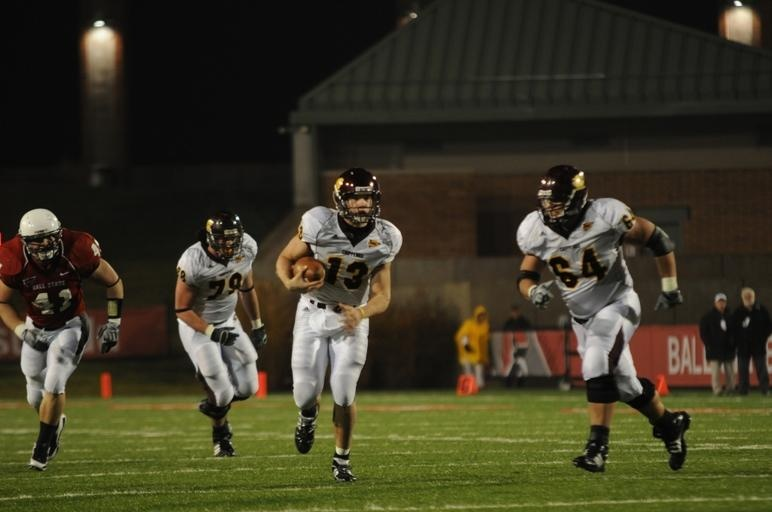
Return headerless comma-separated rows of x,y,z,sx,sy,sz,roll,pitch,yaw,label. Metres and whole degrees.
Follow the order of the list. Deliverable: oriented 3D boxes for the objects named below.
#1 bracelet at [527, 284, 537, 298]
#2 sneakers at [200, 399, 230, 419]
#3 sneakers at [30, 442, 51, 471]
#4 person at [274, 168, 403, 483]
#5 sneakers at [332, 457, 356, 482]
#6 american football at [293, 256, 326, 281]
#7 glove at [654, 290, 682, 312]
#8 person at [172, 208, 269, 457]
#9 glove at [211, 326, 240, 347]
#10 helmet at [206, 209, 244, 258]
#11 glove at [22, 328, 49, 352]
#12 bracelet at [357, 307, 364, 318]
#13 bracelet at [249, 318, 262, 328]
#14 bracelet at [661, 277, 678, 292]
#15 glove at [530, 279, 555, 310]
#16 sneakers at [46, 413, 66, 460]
1.718,0.409,13.991,0.035,0.123,0.131,22,25,-9,bracelet
-2.195,1.957,14.994,0.334,0.230,0.246,2,15,16,sneakers
-4.267,2.497,14.465,0.167,0.204,0.463,11,1,-7,sneakers
-0.563,0.810,14.017,1.375,3.709,0.649,0,-6,-1,person
-0.494,2.515,13.916,0.285,0.307,0.254,0,-6,-4,sneakers
-0.859,0.133,13.899,0.378,0.281,0.298,17,20,6,american football
3.402,0.526,14.057,0.264,0.139,0.325,-12,13,25,glove
-2.099,1.008,15.060,1.139,3.108,0.797,2,-6,-19,person
-2.050,1.023,15.025,0.371,0.235,0.279,1,-6,-12,glove
-2.069,-0.295,14.985,0.493,0.529,0.602,-9,21,-24,helmet
-4.329,1.044,14.711,0.254,0.193,0.329,41,-7,3,glove
-0.292,0.675,13.903,0.112,0.093,0.104,-2,7,-3,bracelet
-1.702,0.878,15.370,0.128,0.093,0.126,0,-6,-40,bracelet
3.340,0.334,14.040,0.221,0.157,0.223,-4,-3,33,bracelet
1.822,0.449,13.935,0.253,0.304,0.386,0,-6,2,glove
-4.176,2.296,14.906,0.240,0.619,0.262,12,9,-7,sneakers
